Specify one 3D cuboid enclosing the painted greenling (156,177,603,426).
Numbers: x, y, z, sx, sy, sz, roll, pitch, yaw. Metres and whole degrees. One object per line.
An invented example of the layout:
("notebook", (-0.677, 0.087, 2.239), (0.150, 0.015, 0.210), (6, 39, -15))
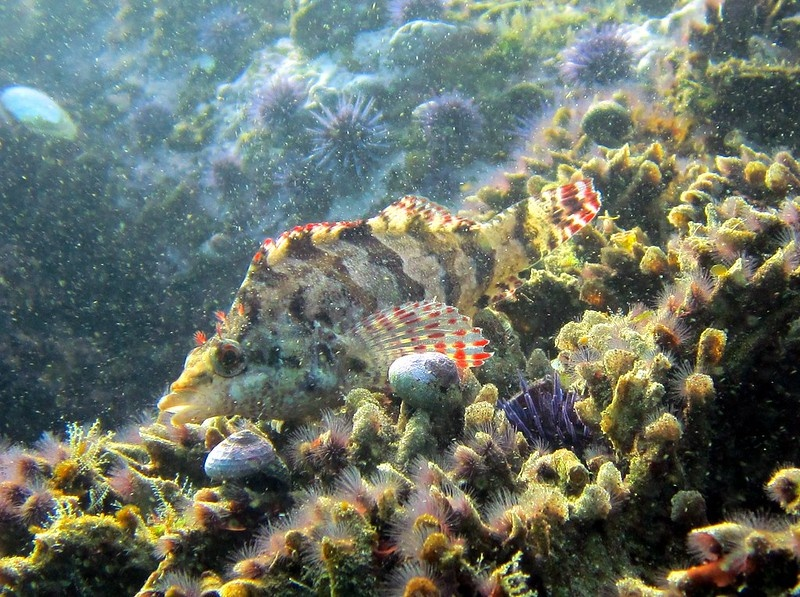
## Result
("painted greenling", (-0.408, 0.027, 11.842), (5.743, 2.282, 1.722), (-34, 40, -4))
